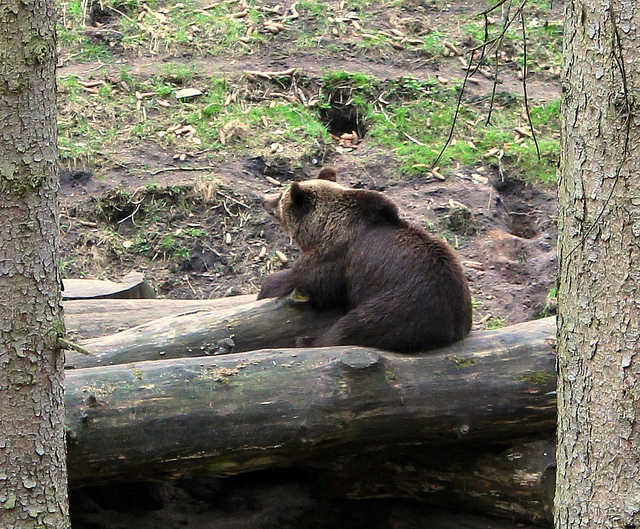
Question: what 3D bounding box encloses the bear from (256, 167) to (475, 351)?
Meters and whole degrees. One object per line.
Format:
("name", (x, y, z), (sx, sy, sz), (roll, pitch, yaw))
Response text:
("bear", (0.274, 0.052, 8.190), (1.874, 0.831, 1.166), (28, 42, 30))
